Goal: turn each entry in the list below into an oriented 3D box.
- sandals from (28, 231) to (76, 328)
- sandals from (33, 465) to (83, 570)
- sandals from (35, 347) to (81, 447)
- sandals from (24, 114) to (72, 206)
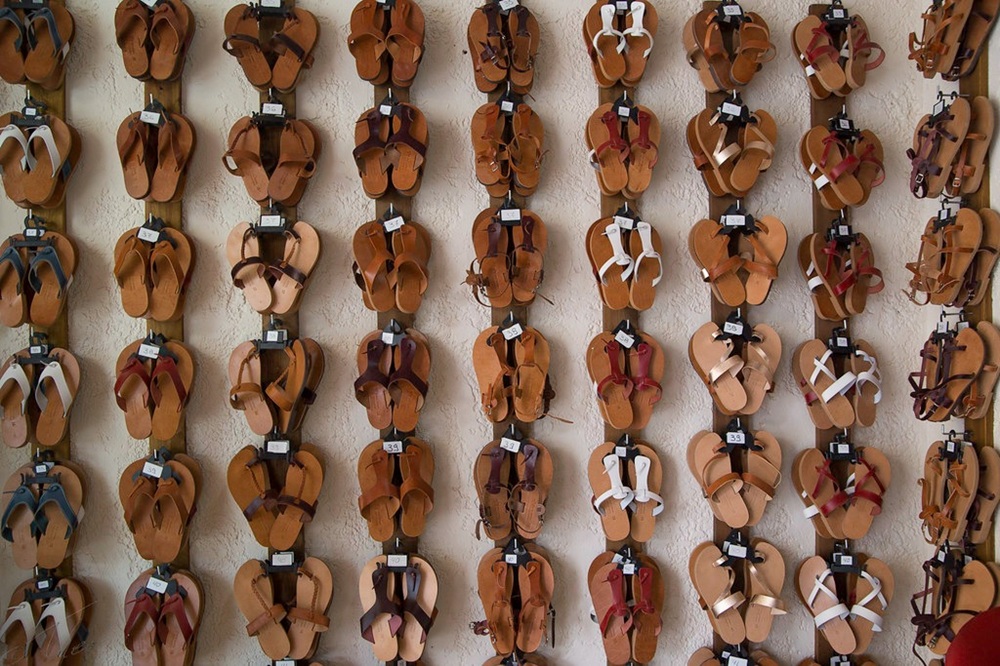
[{"bbox_3d":[-2.445,-0.280,6.107,0.210,0.554,0.120,9,9,-2],"label":"sandals"},{"bbox_3d":[-2.397,1.020,6.104,0.208,0.612,0.139,1,7,-7],"label":"sandals"},{"bbox_3d":[-2.419,0.379,6.117,0.205,0.570,0.118,6,8,-3],"label":"sandals"},{"bbox_3d":[-2.449,-0.934,6.054,0.220,0.498,0.150,3,8,-3],"label":"sandals"}]
